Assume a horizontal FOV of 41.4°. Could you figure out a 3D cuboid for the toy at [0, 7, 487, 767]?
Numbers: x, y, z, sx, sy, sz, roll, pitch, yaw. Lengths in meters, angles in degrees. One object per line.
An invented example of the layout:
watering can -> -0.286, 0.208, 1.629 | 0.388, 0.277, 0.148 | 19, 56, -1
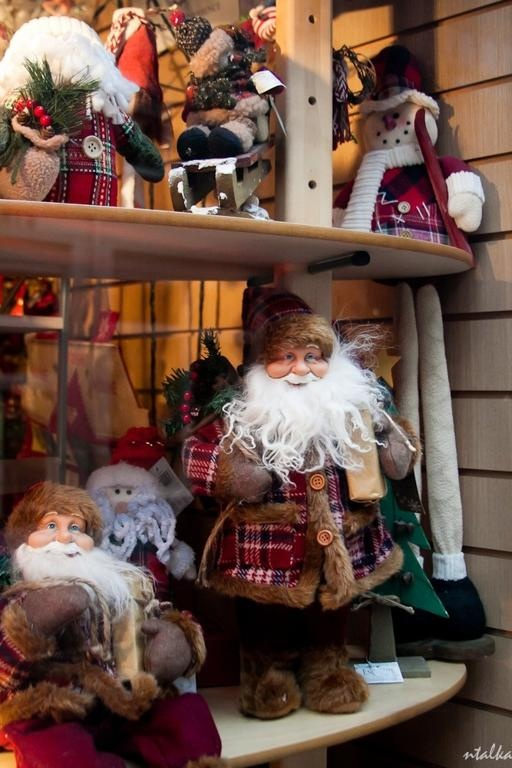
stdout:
toy -> 0.050, -0.108, 0.996 | 0.785, 0.900, 0.443 | -6, 10, -21
